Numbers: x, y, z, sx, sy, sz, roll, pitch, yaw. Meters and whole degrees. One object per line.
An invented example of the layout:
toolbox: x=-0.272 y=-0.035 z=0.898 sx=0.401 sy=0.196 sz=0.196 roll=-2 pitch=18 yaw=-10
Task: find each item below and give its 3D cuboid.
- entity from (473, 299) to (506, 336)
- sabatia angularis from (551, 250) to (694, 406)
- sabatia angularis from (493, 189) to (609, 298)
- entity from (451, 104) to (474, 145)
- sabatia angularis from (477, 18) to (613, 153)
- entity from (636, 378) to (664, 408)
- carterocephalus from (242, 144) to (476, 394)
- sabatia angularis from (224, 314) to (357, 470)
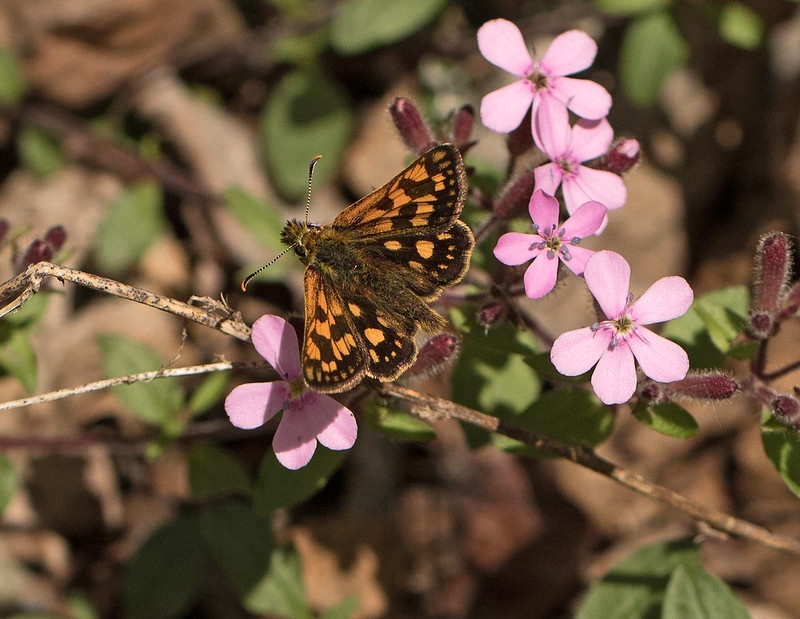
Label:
entity: x=0.554 y=0.051 z=5.132 sx=0.190 sy=0.046 sz=0.131 roll=-50 pitch=46 yaw=15
sabatia angularis: x=1.251 y=0.137 z=4.715 sx=0.715 sy=0.227 sz=0.785 roll=21 pitch=85 yaw=3
sabatia angularis: x=0.862 y=-0.375 z=4.744 sx=0.587 sy=0.206 sz=0.622 roll=5 pitch=97 yaw=5
entity: x=0.416 y=-1.183 z=5.478 sx=0.157 sy=0.058 sz=0.253 roll=11 pitch=110 yaw=14
sabatia angularis: x=0.850 y=-1.375 z=5.036 sx=0.758 sy=0.223 sz=0.685 roll=-1 pitch=84 yaw=1
entity: x=1.437 y=0.476 z=4.902 sx=0.126 sy=0.057 sz=0.145 roll=-23 pitch=37 yaw=9
carterocephalus: x=-0.228 y=-0.207 z=5.369 sx=1.372 sy=1.219 sz=2.172 roll=-4 pitch=31 yaw=0
sabatia angularis: x=-0.615 y=0.526 z=4.656 sx=0.819 sy=0.286 sz=0.839 roll=10 pitch=96 yaw=8
